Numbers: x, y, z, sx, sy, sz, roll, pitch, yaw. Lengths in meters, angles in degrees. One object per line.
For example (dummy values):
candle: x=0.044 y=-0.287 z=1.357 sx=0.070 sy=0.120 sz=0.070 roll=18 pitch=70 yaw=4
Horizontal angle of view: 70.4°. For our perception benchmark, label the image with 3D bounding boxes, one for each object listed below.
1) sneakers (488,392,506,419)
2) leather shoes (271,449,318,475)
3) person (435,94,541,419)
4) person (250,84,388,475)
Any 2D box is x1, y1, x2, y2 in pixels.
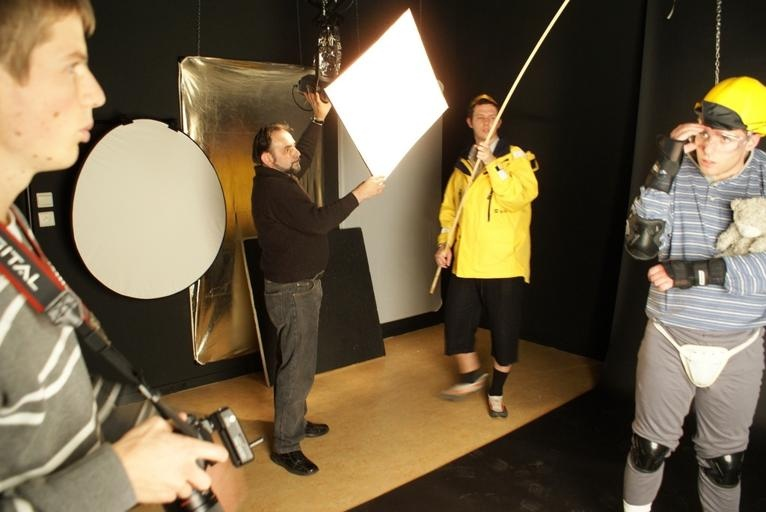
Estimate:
sneakers: x=0.788 y=1.018 z=3.684 sx=0.129 sy=0.121 sz=0.098 roll=2 pitch=21 yaw=12
leather shoes: x=-0.519 y=1.209 z=3.210 sx=0.277 sy=0.130 sz=0.114 roll=10 pitch=14 yaw=28
person: x=0.706 y=0.019 z=3.759 sx=0.666 sy=2.075 sz=0.871 roll=1 pitch=20 yaw=11
person: x=-0.480 y=0.102 z=3.380 sx=0.648 sy=2.122 sz=1.195 roll=-6 pitch=20 yaw=-9
